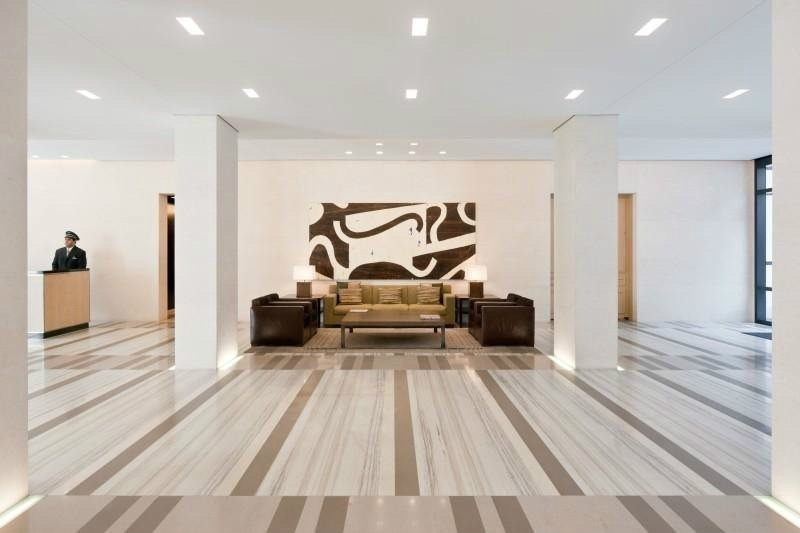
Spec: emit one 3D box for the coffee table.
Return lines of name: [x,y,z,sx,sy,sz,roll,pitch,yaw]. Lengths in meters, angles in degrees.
coffee table: [-0.121,1.135,8.902,1.815,0.762,1.847,0,13,-1]

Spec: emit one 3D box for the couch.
couch: [-0.216,0.791,10.004,2.712,0.884,0.843,0,-5,-4]

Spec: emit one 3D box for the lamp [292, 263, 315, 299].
lamp: [-2.008,0.321,10.063,0.609,0.849,0.600,1,-2,-4]

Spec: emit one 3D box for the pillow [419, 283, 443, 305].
pillow: [0.647,0.598,10.043,0.392,0.363,0.131,0,-15,3]

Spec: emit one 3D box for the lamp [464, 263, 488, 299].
lamp: [1.605,0.341,10.005,0.676,0.678,0.672,-4,-7,17]

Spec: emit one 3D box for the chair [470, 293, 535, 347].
chair: [1.863,0.964,8.628,1.014,0.832,0.940,0,13,1]

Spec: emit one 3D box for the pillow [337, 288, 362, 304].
pillow: [-1.059,0.635,10.002,0.483,0.331,0.278,1,0,10]

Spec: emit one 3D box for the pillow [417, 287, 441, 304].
pillow: [0.610,0.626,10.015,0.340,0.315,0.116,0,-12,4]

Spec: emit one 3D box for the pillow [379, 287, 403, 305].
pillow: [-0.230,0.664,10.228,0.401,0.356,0.117,1,-15,-3]
